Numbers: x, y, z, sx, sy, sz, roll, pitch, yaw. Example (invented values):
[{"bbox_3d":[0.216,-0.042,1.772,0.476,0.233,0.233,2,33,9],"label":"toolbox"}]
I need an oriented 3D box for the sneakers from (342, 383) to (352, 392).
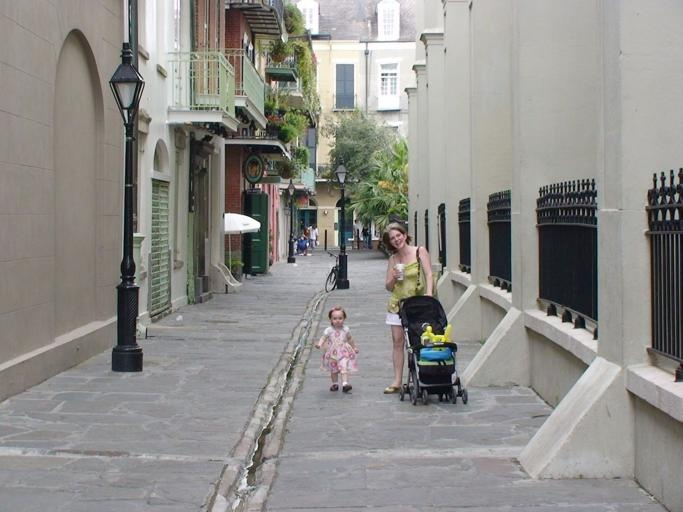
[{"bbox_3d":[0.068,1.648,11.315,0.058,0.089,0.184,-5,-18,-19],"label":"sneakers"}]

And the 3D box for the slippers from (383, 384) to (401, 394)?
[{"bbox_3d":[0.631,1.660,11.315,0.201,0.111,0.202,0,5,4],"label":"slippers"}]

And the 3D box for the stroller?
[{"bbox_3d":[1.029,1.092,10.649,0.655,1.718,1.223,0,-9,-10],"label":"stroller"}]

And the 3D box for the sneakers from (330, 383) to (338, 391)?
[{"bbox_3d":[-0.094,1.677,11.496,0.097,0.089,0.067,2,-3,10],"label":"sneakers"}]

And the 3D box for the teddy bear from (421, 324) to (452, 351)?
[{"bbox_3d":[1.116,0.923,10.633,0.342,0.221,0.387,0,4,3],"label":"teddy bear"}]

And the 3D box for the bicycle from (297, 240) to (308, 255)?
[{"bbox_3d":[-2.336,-0.586,54.113,0.528,0.960,1.209,-1,4,-10],"label":"bicycle"}]

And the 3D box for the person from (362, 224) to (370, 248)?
[{"bbox_3d":[1.771,-1.329,62.965,0.423,1.515,1.460,0,4,1],"label":"person"}]

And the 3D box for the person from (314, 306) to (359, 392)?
[{"bbox_3d":[-0.028,1.179,11.271,0.429,1.104,0.757,0,4,1],"label":"person"}]

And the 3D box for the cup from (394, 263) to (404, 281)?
[{"bbox_3d":[0.739,0.203,11.250,0.098,0.212,0.189,0,4,11],"label":"cup"}]
